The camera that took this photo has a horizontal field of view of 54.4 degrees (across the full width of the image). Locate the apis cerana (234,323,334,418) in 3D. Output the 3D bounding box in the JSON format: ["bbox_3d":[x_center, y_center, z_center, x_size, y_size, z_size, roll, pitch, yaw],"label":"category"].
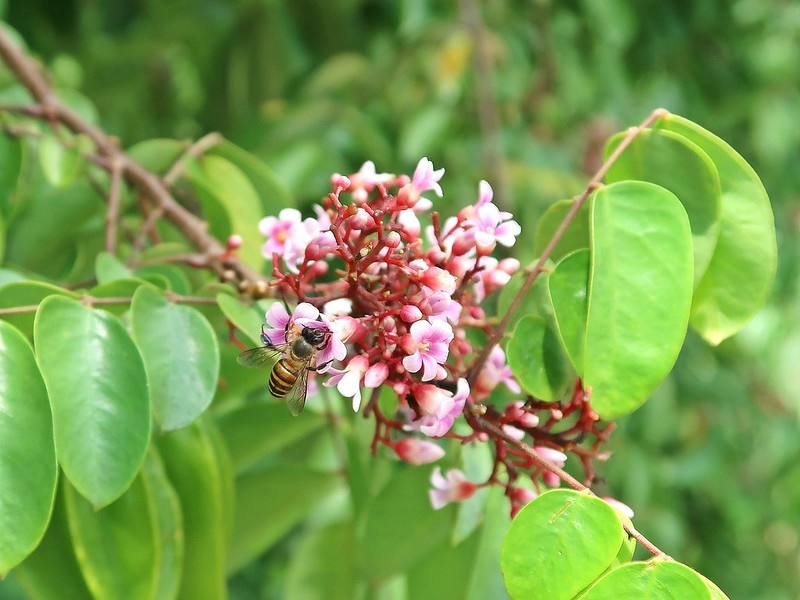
[{"bbox_3d":[-0.314,0.175,2.158,0.218,0.289,0.097,35,19,-3],"label":"apis cerana"}]
